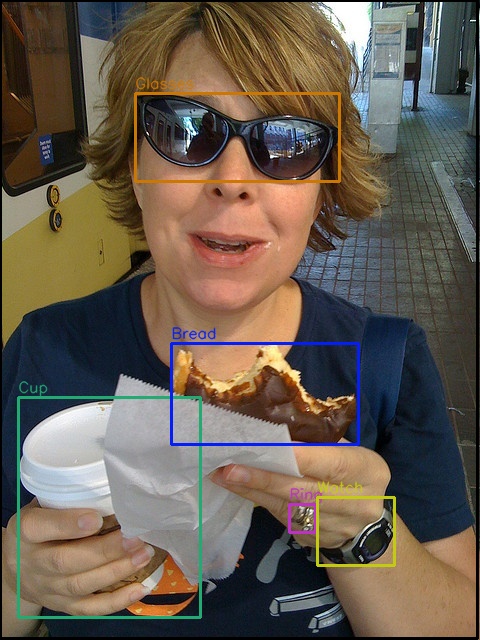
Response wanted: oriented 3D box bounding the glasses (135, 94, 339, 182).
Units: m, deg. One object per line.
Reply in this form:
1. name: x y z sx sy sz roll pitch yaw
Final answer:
1. glasses: -0.011 -0.417 1.215 0.461 0.167 0.213 5 25 6

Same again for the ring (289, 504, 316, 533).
1. ring: 0.126 0.398 1.064 0.036 0.064 0.052 -2 50 -12
